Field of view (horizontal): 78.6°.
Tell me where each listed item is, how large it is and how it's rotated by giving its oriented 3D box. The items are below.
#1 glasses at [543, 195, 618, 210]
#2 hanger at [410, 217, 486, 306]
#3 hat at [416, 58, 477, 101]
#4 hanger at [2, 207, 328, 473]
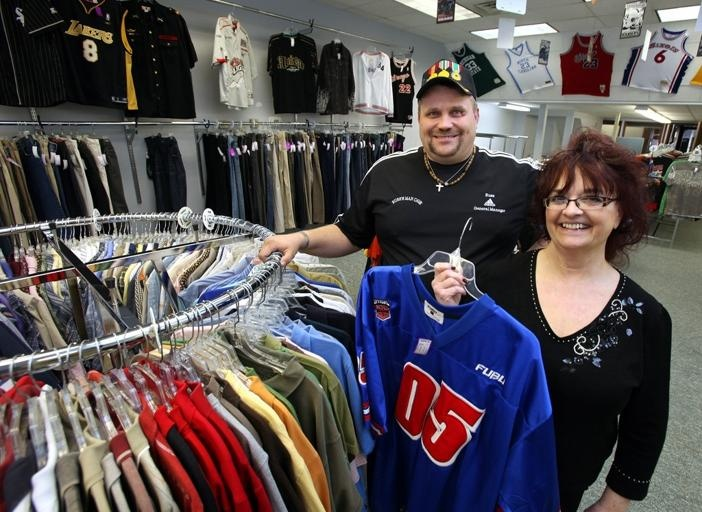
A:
[{"bbox_3d":[0.773,-0.183,1.451,0.207,0.047,0.057,6,20,21],"label":"glasses"},{"bbox_3d":[0.377,0.020,1.514,0.183,0.069,0.235,18,58,22],"label":"hanger"},{"bbox_3d":[0.418,-0.779,1.890,0.262,0.170,0.196,1,18,8],"label":"hat"},{"bbox_3d":[-0.633,0.395,1.609,0.942,0.273,0.905,-18,32,-40],"label":"hanger"}]
